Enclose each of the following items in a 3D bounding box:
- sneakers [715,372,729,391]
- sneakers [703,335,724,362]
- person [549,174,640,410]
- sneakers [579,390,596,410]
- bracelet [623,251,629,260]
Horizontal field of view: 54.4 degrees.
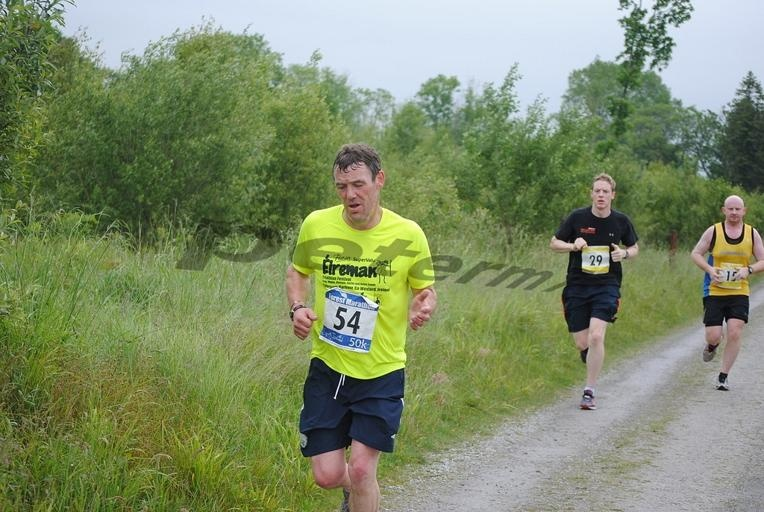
[{"bbox_3d":[4.811,1.766,10.540,0.165,0.214,0.320,4,10,25],"label":"sneakers"},{"bbox_3d":[5.133,1.453,11.578,0.148,0.441,0.290,21,16,25],"label":"sneakers"},{"bbox_3d":[2.861,0.418,10.125,1.044,3.021,1.204,3,9,19],"label":"person"},{"bbox_3d":[2.701,1.863,9.781,0.189,0.245,0.368,3,9,17],"label":"sneakers"},{"bbox_3d":[3.239,-0.015,9.864,0.039,0.106,0.107,9,-12,10],"label":"bracelet"}]
